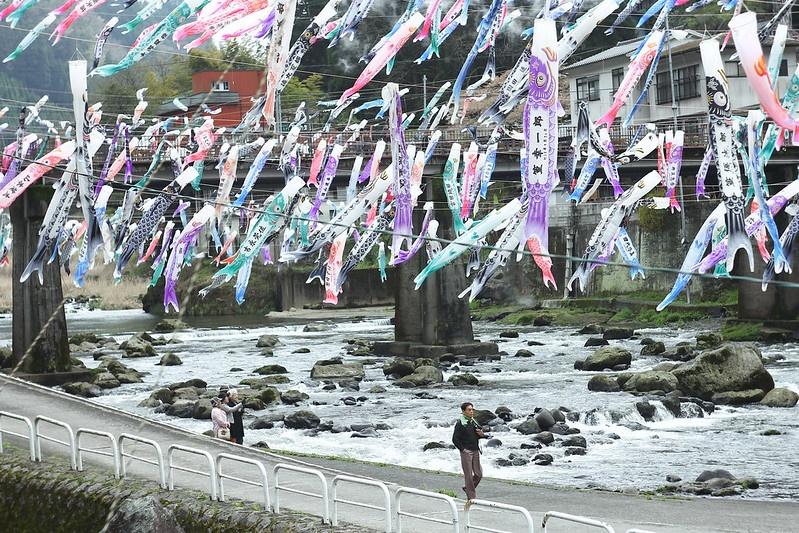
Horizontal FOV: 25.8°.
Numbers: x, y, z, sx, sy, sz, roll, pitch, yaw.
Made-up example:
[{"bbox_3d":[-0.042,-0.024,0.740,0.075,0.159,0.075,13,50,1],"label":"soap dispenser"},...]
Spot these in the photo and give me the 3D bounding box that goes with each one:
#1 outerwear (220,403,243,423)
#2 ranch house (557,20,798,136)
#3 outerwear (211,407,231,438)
[{"bbox_3d":[-6.627,5.748,68.554,0.787,1.085,0.788,-8,-4,8],"label":"outerwear"},{"bbox_3d":[13.591,-9.010,85.300,6.223,4.091,10.069,-3,3,-15],"label":"ranch house"},{"bbox_3d":[-6.999,6.161,68.411,0.636,1.213,0.530,0,-2,-6],"label":"outerwear"}]
